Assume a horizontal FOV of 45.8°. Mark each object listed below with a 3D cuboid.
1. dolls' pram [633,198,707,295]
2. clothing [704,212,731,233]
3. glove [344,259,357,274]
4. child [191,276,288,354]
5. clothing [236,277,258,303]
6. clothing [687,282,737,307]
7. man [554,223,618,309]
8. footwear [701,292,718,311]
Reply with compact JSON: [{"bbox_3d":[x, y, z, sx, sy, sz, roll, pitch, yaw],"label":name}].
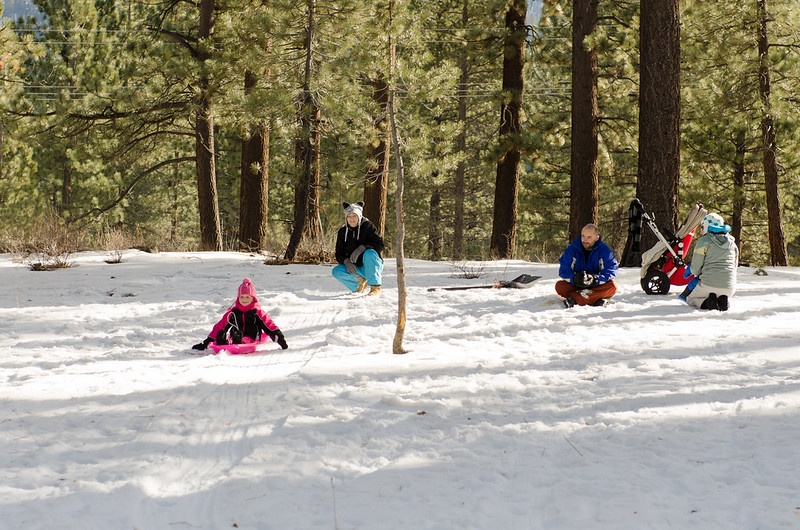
[{"bbox_3d":[5.920,-0.334,21.209,1.981,2.554,1.636,-1,1,14],"label":"dolls' pram"},{"bbox_3d":[6.542,-0.867,19.474,0.347,0.408,0.489,-1,4,-15],"label":"clothing"},{"bbox_3d":[-1.158,0.027,21.338,0.097,0.314,0.231,-26,-13,-24],"label":"glove"},{"bbox_3d":[-3.125,0.986,18.115,1.948,1.320,1.080,-3,3,26],"label":"child"},{"bbox_3d":[-2.975,0.479,18.278,0.446,0.498,0.461,-1,-2,-5],"label":"clothing"},{"bbox_3d":[6.180,0.574,19.319,0.512,0.314,0.686,3,-9,-8],"label":"clothing"},{"bbox_3d":[3.992,0.043,20.022,1.230,1.771,1.311,6,11,35],"label":"man"},{"bbox_3d":[6.247,0.746,19.086,0.251,0.354,0.121,4,-14,22],"label":"footwear"}]
